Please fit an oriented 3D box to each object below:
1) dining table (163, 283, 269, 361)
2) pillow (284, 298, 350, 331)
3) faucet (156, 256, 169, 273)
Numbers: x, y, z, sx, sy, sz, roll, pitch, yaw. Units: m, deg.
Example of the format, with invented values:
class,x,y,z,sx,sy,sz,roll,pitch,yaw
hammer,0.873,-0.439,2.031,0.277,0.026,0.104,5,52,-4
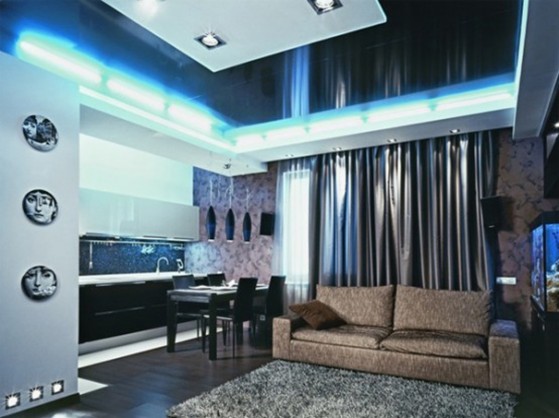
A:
class,x,y,z,sx,sy,sz,roll,pitch,yaw
dining table,-0.984,1.771,6.183,0.775,0.987,1.463,-6,-9,34
pillow,0.465,1.384,5.742,0.676,0.197,0.646,8,14,-33
faucet,-2.193,1.025,8.044,0.078,0.295,0.402,-1,-1,13
